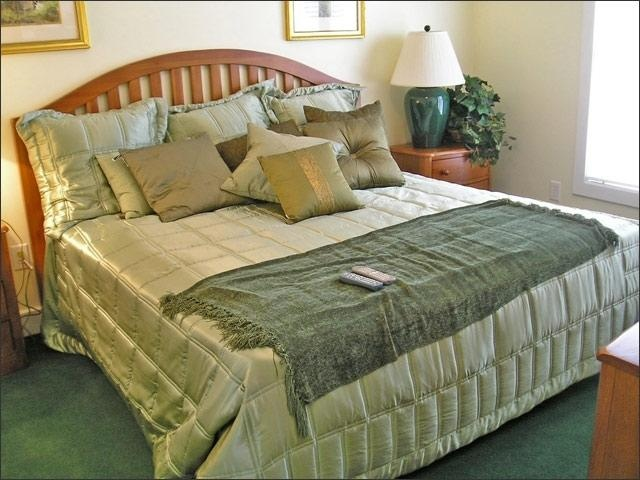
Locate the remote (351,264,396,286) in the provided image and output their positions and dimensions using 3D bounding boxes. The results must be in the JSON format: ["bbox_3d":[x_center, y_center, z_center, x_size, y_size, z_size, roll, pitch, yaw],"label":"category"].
[{"bbox_3d":[0.203,0.123,1.844,0.135,0.022,0.071,15,21,35],"label":"remote"}]

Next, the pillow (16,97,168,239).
[{"bbox_3d":[-1.236,-0.359,2.512,0.723,0.678,0.192,-14,6,-32],"label":"pillow"}]

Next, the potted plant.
[{"bbox_3d":[1.188,-0.916,3.553,0.573,0.682,0.363,-30,11,-41],"label":"potted plant"}]

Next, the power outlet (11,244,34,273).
[{"bbox_3d":[-1.648,0.106,2.647,0.032,0.150,0.101,1,17,30],"label":"power outlet"}]

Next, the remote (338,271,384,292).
[{"bbox_3d":[0.158,0.150,1.802,0.130,0.029,0.069,16,25,29],"label":"remote"}]

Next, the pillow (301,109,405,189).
[{"bbox_3d":[0.219,-0.567,2.976,0.579,0.530,0.156,-6,-19,-29],"label":"pillow"}]
